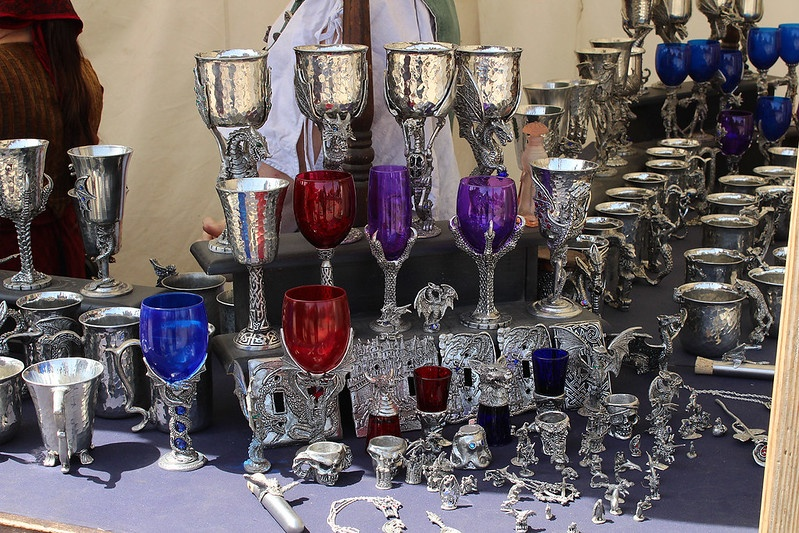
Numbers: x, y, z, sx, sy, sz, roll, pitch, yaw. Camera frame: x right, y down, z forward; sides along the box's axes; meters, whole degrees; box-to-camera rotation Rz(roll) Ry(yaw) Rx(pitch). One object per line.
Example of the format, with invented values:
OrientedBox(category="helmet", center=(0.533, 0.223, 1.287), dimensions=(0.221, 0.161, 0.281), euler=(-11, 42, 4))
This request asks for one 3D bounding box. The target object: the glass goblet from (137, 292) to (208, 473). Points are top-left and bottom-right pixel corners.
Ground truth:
OrientedBox(category="glass goblet", center=(-0.437, 0.223, 1.518), dimensions=(0.131, 0.340, 0.124), euler=(-5, 11, -18))

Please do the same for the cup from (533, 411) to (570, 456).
OrientedBox(category="cup", center=(0.309, 0.342, 1.549), dimensions=(0.068, 0.073, 0.074), euler=(-5, 10, 1))

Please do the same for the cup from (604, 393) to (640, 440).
OrientedBox(category="cup", center=(0.464, 0.313, 1.601), dimensions=(0.070, 0.066, 0.087), euler=(-2, 4, 0))

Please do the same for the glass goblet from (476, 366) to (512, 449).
OrientedBox(category="glass goblet", center=(0.192, 0.288, 1.598), dimensions=(0.079, 0.174, 0.081), euler=(-3, 3, -42))

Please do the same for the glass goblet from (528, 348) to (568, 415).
OrientedBox(category="glass goblet", center=(0.318, 0.256, 1.630), dimensions=(0.079, 0.128, 0.077), euler=(-7, 11, -25))

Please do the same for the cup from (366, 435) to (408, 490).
OrientedBox(category="cup", center=(-0.026, 0.377, 1.468), dimensions=(0.073, 0.065, 0.087), euler=(0, 5, 3))

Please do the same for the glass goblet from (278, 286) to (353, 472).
OrientedBox(category="glass goblet", center=(-0.159, 0.205, 1.531), dimensions=(0.138, 0.332, 0.135), euler=(-3, 10, -9))
